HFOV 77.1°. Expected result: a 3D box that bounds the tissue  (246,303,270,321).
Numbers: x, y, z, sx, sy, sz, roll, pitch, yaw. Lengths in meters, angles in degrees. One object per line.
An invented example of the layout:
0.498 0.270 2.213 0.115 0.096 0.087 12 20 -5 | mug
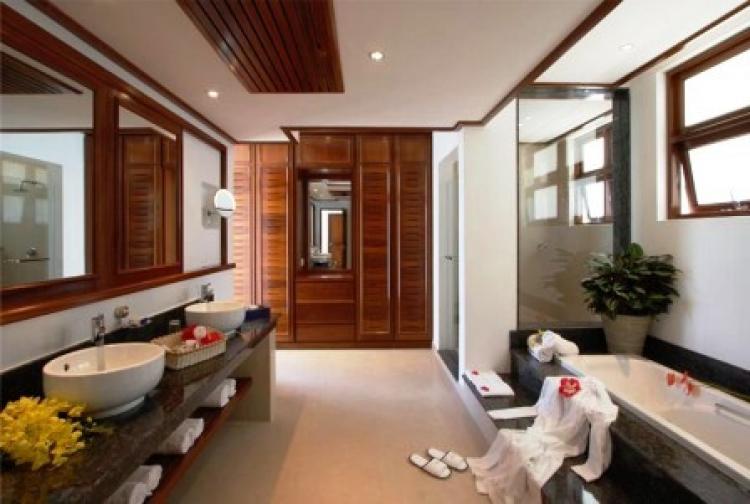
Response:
-1.076 0.560 4.308 0.234 0.112 0.140 -3 2 -25 | tissue 

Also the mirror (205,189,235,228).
-1.555 -0.417 4.628 0.257 0.386 0.282 -3 -7 22 | mirror

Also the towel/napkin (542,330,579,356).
1.676 0.825 4.273 0.313 0.209 0.174 -1 2 24 | towel/napkin

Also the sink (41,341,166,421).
-1.592 0.746 2.882 0.450 0.222 0.486 2 0 -3 | sink

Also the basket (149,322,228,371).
-1.344 0.670 3.417 0.423 0.249 0.386 -4 3 -43 | basket

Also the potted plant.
2.370 0.480 4.499 0.701 0.935 0.731 -3 -2 -23 | potted plant

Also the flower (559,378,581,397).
1.467 1.014 3.551 0.140 0.063 0.137 -23 36 0 | flower

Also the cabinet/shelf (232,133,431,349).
-0.507 -0.137 5.800 2.611 2.562 0.860 1 0 9 | cabinet/shelf

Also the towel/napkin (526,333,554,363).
1.514 0.868 4.351 0.169 0.087 0.234 -5 7 0 | towel/napkin
